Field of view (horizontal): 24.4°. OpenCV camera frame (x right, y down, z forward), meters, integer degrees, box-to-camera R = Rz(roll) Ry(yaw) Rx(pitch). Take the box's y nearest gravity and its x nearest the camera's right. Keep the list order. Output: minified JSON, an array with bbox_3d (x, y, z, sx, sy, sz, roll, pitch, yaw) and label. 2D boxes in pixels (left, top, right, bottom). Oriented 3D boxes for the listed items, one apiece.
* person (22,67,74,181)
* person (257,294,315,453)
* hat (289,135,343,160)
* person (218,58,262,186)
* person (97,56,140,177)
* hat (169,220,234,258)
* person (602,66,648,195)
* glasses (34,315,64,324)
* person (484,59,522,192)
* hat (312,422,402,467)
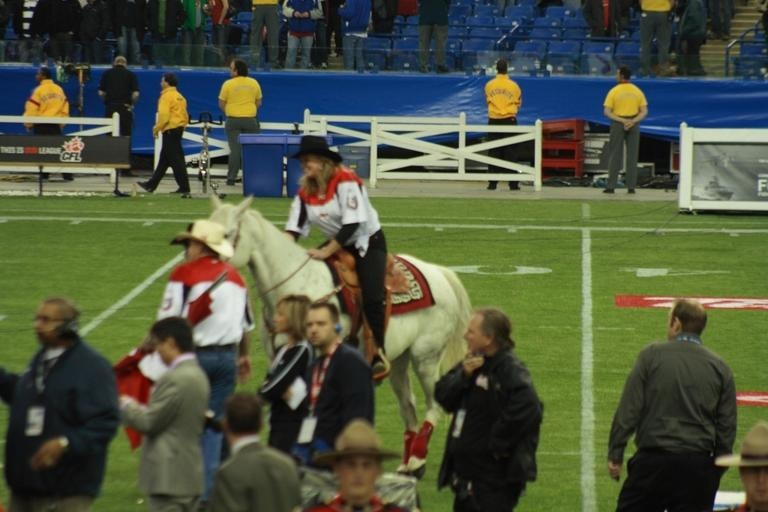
[{"bbox_3d":[-8.504,-3.342,44.481,1.262,2.662,0.785,-6,13,-34],"label":"person"},{"bbox_3d":[-1.521,1.821,27.387,0.901,2.228,0.786,0,-9,-2],"label":"person"},{"bbox_3d":[-1.079,-1.727,28.843,0.732,0.427,0.403,1,4,-5],"label":"hat"},{"bbox_3d":[-3.596,-3.258,43.828,0.989,3.116,1.576,1,4,-4],"label":"person"},{"bbox_3d":[-6.773,-4.043,45.052,0.970,1.995,0.742,1,4,-8],"label":"person"},{"bbox_3d":[-2.786,-0.299,27.998,0.786,0.335,0.645,20,8,10],"label":"hat"},{"bbox_3d":[5.870,-3.090,43.597,1.205,3.059,1.403,-1,9,-2],"label":"person"},{"bbox_3d":[-5.053,0.962,26.626,0.393,0.104,0.049,2,4,5],"label":"glasses"},{"bbox_3d":[2.894,-3.484,44.632,1.195,3.112,0.967,2,32,8],"label":"person"},{"bbox_3d":[-0.387,2.668,25.081,1.152,0.637,0.316,1,4,-2],"label":"hat"}]
